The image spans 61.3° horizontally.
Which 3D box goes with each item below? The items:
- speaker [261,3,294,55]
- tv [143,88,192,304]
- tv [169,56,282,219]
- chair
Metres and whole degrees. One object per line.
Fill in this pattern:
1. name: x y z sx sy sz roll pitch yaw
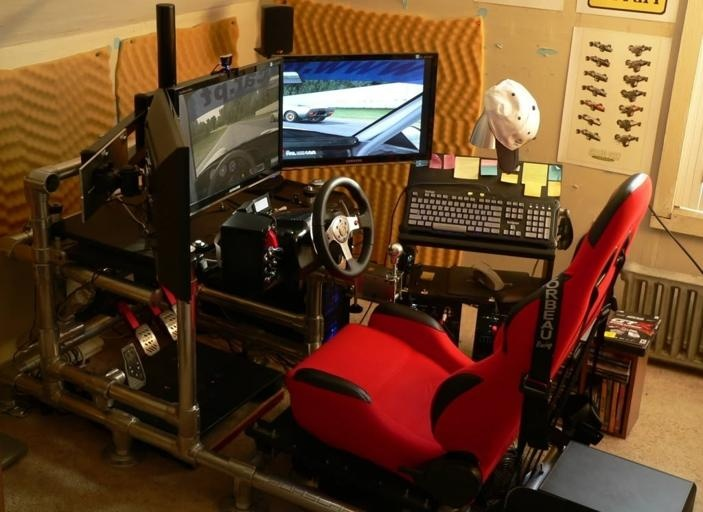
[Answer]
1. speaker: -0.411 -1.233 3.245 0.171 0.272 0.082 2 15 -12
2. tv: -0.597 -0.197 1.942 0.118 0.632 0.387 -2 17 -28
3. tv: -0.518 -0.487 2.483 0.068 0.516 0.727 12 32 22
4. chair: 0.354 0.232 2.056 1.025 1.182 0.540 13 17 25
